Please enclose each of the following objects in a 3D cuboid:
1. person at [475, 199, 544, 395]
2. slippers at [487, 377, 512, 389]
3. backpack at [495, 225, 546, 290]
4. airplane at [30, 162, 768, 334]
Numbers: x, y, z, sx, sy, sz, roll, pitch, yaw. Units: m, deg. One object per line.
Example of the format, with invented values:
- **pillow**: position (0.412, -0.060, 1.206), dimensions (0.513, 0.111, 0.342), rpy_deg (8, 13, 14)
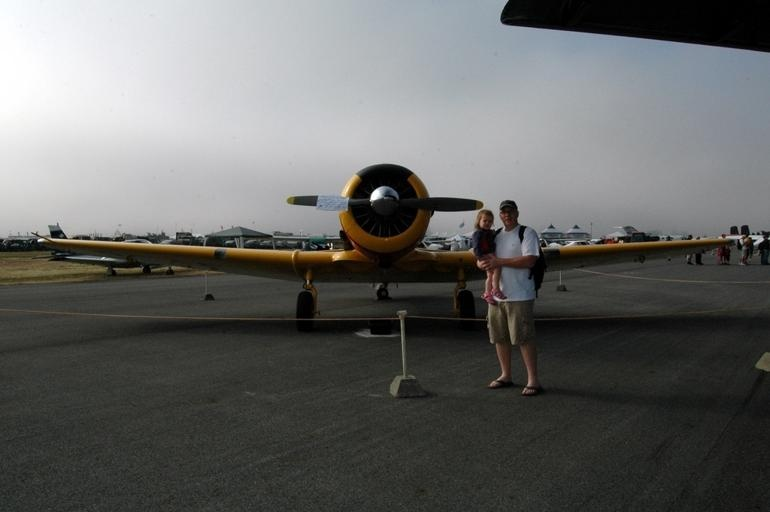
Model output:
- **person**: position (1.411, 0.433, 5.729), dimensions (0.710, 2.080, 0.793), rpy_deg (1, 7, 10)
- **slippers**: position (1.297, 1.428, 5.849), dimensions (0.282, 0.072, 0.106), rpy_deg (5, -7, -32)
- **backpack**: position (1.426, 0.037, 5.590), dimensions (0.362, 0.682, 0.490), rpy_deg (-8, 20, -14)
- **airplane**: position (-0.100, -0.231, 9.645), dimensions (10.259, 2.796, 2.360), rpy_deg (1, 7, 8)
